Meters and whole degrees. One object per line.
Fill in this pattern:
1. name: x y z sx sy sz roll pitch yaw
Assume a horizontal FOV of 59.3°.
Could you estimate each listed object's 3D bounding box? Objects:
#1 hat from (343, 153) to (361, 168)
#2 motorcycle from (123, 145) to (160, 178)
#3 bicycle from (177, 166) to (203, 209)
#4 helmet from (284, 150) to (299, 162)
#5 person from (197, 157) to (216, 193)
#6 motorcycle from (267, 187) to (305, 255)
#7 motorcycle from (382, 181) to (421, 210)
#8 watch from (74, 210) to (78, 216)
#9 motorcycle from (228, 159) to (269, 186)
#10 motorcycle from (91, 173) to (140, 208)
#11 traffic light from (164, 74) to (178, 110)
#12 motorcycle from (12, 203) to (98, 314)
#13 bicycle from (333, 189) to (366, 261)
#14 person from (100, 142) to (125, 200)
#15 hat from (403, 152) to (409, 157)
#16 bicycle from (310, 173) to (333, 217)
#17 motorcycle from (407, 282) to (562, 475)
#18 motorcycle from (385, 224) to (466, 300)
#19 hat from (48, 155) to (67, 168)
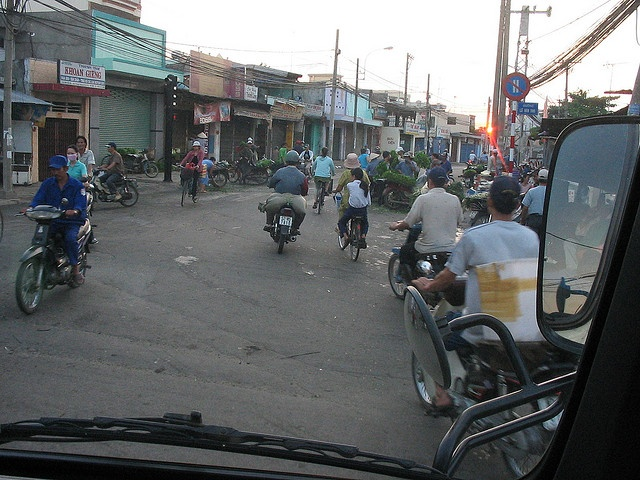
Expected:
1. hat: 0.791 -1.942 13.820 0.444 0.251 0.481 7 48 8
2. motorcycle: -7.744 -3.353 24.270 1.929 1.213 1.064 0 18 -7
3. bicycle: -3.820 -1.581 16.555 0.523 1.049 1.336 2 8 -12
4. helmet: -0.549 -1.645 10.969 0.208 0.265 0.269 3 44 1
5. person: -3.970 -2.308 19.679 0.804 1.035 1.596 0 19 0
6. motorcycle: -0.609 -0.320 10.553 0.704 1.047 0.762 1 8 -19
7. motorcycle: 2.615 -1.318 18.254 1.063 0.722 0.601 5 16 3
8. watch: -3.008 -0.343 6.940 0.042 0.042 0.043 2 2 9
9. motorcycle: -2.959 -2.885 24.029 1.712 1.131 0.961 7 38 -1
10. motorcycle: -5.574 -1.329 15.416 1.527 1.010 0.736 1 13 -23
11. traffic light: -5.877 -5.845 22.223 0.444 1.287 0.387 1 8 -18
12. motorcycle: -3.280 0.179 6.596 0.470 1.098 1.271 4 8 9
13. bicycle: 0.426 -0.122 10.575 0.494 0.689 1.117 0 25 -9
14. person: -5.664 -1.863 15.318 0.605 1.523 0.810 0 8 -20
15. hat: 2.890 -2.808 18.449 0.234 0.097 0.253 1 11 6
16. bicycle: 0.091 -1.497 16.623 0.511 0.664 1.132 2 24 4
17. motorcycle: 0.820 0.746 2.791 0.491 0.601 0.964 -5 28 -20
18. motorcycle: 1.163 0.451 7.008 0.702 0.806 1.241 0 19 -17
19. hat: -3.280 -0.946 7.062 0.176 0.137 0.250 -3 23 -2
